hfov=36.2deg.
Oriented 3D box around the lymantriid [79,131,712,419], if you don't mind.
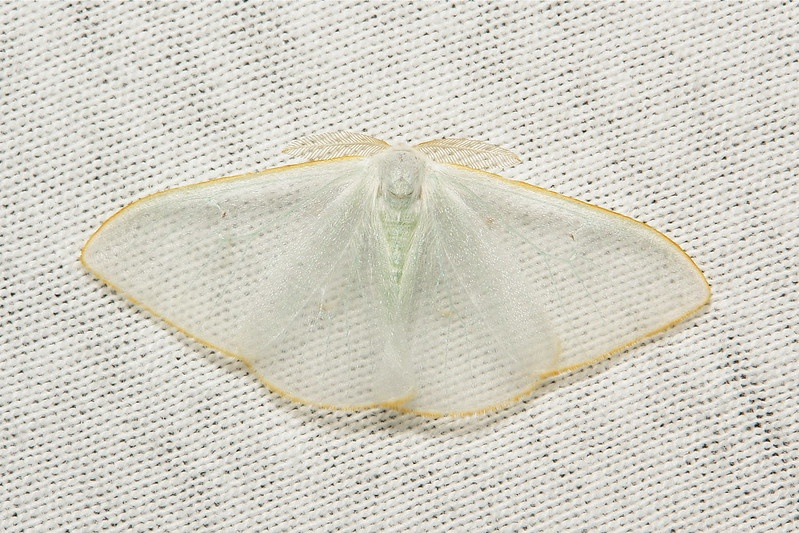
[{"bbox_3d":[0.009,0.041,2.449,1.033,0.113,0.484,3,84,1],"label":"lymantriid"}]
